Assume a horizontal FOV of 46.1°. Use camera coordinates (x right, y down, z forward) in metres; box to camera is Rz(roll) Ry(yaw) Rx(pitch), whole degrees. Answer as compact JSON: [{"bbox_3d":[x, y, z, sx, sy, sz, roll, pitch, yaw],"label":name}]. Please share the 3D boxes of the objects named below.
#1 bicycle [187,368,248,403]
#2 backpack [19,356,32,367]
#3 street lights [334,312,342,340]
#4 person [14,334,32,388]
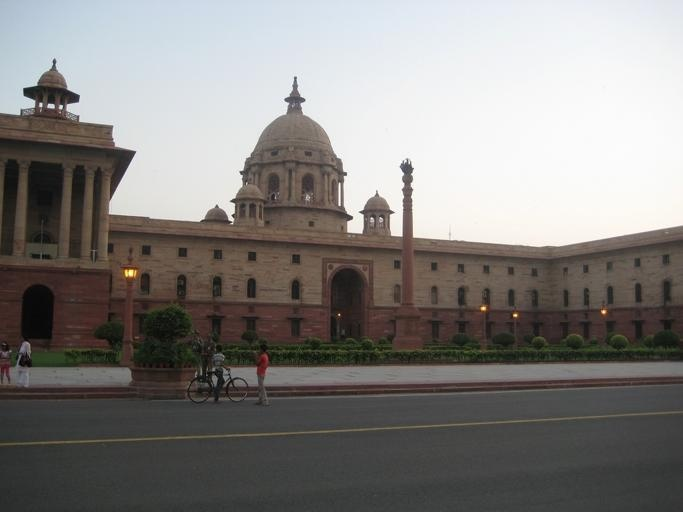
[{"bbox_3d":[-3.492,3.612,22.377,1.926,1.054,0.820,-2,-2,-8],"label":"bicycle"},{"bbox_3d":[-9.398,3.095,23.878,0.329,0.336,0.363,4,-8,-26],"label":"backpack"},{"bbox_3d":[-0.270,5.938,69.724,0.423,2.219,0.743,5,-9,-31],"label":"street lights"},{"bbox_3d":[-9.533,3.227,24.184,0.360,1.346,1.063,3,-8,-23],"label":"person"}]
